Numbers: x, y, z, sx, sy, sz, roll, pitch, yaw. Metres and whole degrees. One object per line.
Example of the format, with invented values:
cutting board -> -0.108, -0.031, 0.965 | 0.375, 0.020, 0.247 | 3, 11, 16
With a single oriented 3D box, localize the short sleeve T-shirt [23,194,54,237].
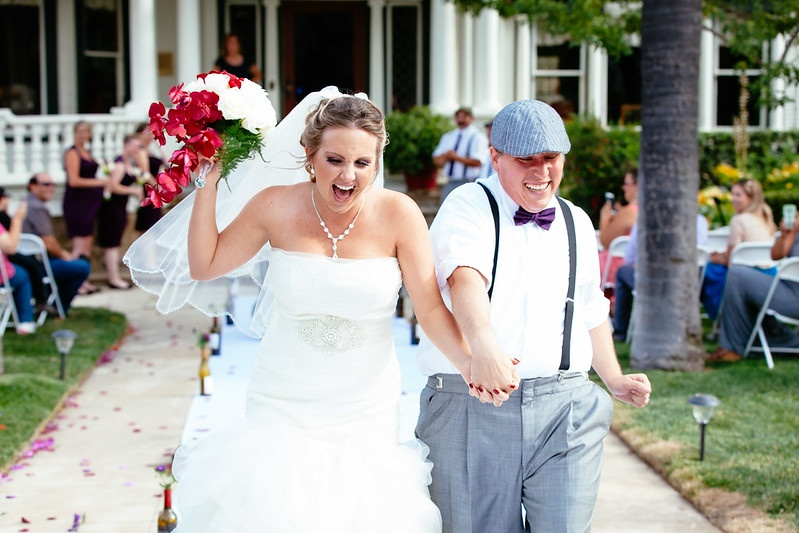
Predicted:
short sleeve T-shirt -> -4.374, -0.600, 13.662 | 0.270, 0.536, 0.544 | -5, 11, -37

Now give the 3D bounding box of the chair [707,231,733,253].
chair -> 3.490, -0.275, 12.414 | 0.239, 0.264, 0.253 | -4, 6, -32

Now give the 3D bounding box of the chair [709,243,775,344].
chair -> 3.562, 0.123, 11.465 | 0.620, 1.141, 0.840 | 0, 17, 1

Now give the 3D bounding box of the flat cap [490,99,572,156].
flat cap -> 0.881, -0.949, 7.683 | 0.338, 0.218, 0.481 | -4, 10, -14

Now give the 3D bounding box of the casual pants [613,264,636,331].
casual pants -> 2.499, 0.348, 12.764 | 0.239, 0.922, 0.221 | 12, 32, 23

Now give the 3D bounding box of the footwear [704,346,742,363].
footwear -> 3.252, 0.915, 11.432 | 0.396, 0.186, 0.144 | -4, -8, 10

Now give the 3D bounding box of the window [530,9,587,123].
window -> 2.793, -3.380, 19.862 | 0.949, 2.003, 0.063 | 2, -30, 4

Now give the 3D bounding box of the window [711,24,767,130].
window -> 3.289, -1.754, 10.978 | 0.530, 1.035, 0.080 | 5, 38, 25

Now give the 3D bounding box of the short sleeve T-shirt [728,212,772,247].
short sleeve T-shirt -> 3.543, -0.369, 11.597 | 0.273, 0.433, 0.202 | 3, 5, 1
